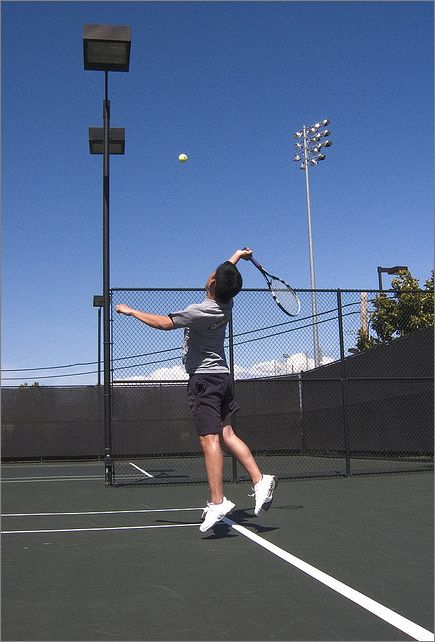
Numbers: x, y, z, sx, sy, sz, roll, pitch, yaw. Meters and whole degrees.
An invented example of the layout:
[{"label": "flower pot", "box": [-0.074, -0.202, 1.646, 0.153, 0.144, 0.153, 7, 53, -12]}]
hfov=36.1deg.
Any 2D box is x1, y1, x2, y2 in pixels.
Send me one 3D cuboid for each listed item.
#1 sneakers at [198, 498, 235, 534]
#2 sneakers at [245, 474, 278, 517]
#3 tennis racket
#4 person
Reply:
[{"label": "sneakers", "box": [-0.006, 1.174, 4.040, 0.199, 0.164, 0.126, -3, -1, 1]}, {"label": "sneakers", "box": [0.292, 1.063, 4.156, 0.142, 0.317, 0.103, 8, 7, 7]}, {"label": "tennis racket", "box": [0.462, -0.436, 6.090, 0.056, 0.866, 0.340, -35, -4, -23]}, {"label": "person", "box": [-0.009, 0.486, 4.364, 0.836, 1.525, 0.741, -4, -2, 42]}]
